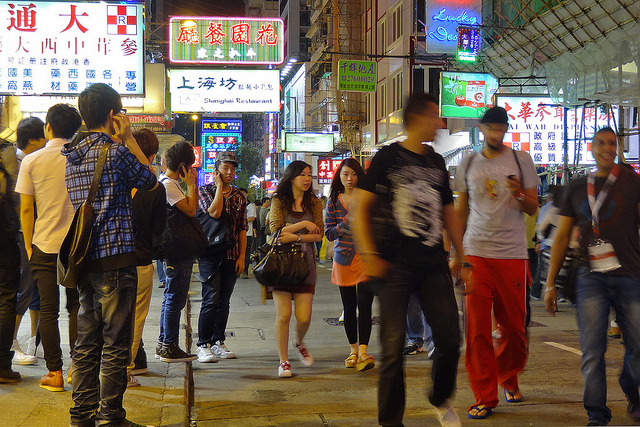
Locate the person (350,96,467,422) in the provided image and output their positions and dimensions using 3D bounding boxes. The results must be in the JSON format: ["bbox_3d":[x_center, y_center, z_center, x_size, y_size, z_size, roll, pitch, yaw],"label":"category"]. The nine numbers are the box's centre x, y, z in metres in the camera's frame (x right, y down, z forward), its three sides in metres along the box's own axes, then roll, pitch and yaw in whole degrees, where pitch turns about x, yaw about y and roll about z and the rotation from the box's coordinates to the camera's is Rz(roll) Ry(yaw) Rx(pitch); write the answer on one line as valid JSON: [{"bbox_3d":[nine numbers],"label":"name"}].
[{"bbox_3d":[0.805,0.421,5.602,1.075,2.920,0.570,1,2,-10],"label":"person"}]

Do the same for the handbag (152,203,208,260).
[{"bbox_3d":[-1.656,0.127,7.752,0.558,0.727,0.740,-14,20,-35],"label":"handbag"}]

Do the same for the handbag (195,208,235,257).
[{"bbox_3d":[-1.463,0.184,8.490,0.583,0.723,0.292,2,-30,-6],"label":"handbag"}]

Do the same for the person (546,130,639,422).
[{"bbox_3d":[2.719,0.623,6.180,0.845,2.848,0.493,1,2,6],"label":"person"}]

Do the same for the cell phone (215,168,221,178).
[{"bbox_3d":[-1.341,-0.528,8.317,0.082,0.099,0.027,3,3,41],"label":"cell phone"}]

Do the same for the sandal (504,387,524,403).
[{"bbox_3d":[2.145,1.994,6.973,0.208,0.143,0.191,2,2,16],"label":"sandal"}]

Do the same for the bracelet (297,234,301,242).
[{"bbox_3d":[-0.262,0.304,7.715,0.022,0.090,0.091,-2,8,-13],"label":"bracelet"}]

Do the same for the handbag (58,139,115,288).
[{"bbox_3d":[-2.109,-0.007,5.699,0.475,1.336,0.252,0,2,-21],"label":"handbag"}]

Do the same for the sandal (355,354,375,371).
[{"bbox_3d":[0.574,1.872,7.923,0.215,0.203,0.169,1,2,1],"label":"sandal"}]

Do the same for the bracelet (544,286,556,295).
[{"bbox_3d":[2.349,0.775,6.467,0.073,0.071,0.145,0,3,-19],"label":"bracelet"}]

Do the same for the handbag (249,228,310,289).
[{"bbox_3d":[-0.479,0.475,7.647,0.745,0.815,0.336,7,-4,-26],"label":"handbag"}]
